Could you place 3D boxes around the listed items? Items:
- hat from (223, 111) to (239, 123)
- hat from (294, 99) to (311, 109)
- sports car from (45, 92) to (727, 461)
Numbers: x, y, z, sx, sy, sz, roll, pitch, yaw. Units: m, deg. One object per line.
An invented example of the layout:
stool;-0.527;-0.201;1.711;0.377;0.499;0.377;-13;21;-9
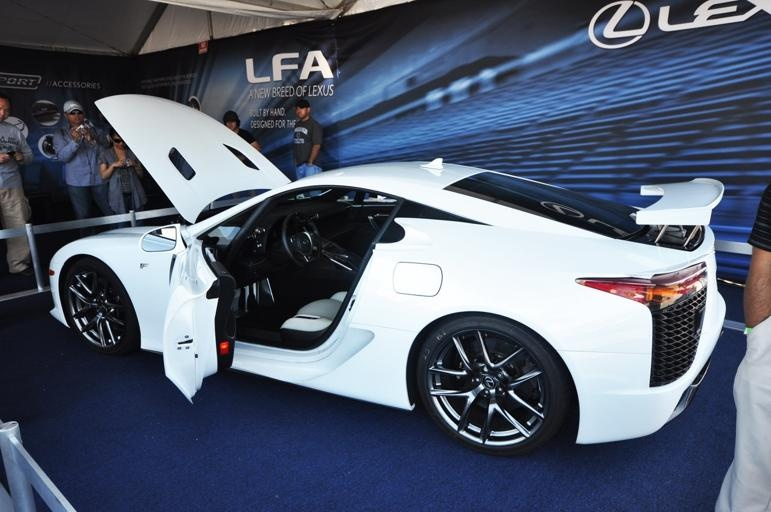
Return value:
hat;-2.763;-2.501;7.711;0.257;0.170;0.351;-6;16;-15
hat;-1.516;-2.698;7.659;0.274;0.134;0.382;-21;31;-40
sports car;-0.292;0.140;3.778;5.409;1.959;1.878;6;11;23
